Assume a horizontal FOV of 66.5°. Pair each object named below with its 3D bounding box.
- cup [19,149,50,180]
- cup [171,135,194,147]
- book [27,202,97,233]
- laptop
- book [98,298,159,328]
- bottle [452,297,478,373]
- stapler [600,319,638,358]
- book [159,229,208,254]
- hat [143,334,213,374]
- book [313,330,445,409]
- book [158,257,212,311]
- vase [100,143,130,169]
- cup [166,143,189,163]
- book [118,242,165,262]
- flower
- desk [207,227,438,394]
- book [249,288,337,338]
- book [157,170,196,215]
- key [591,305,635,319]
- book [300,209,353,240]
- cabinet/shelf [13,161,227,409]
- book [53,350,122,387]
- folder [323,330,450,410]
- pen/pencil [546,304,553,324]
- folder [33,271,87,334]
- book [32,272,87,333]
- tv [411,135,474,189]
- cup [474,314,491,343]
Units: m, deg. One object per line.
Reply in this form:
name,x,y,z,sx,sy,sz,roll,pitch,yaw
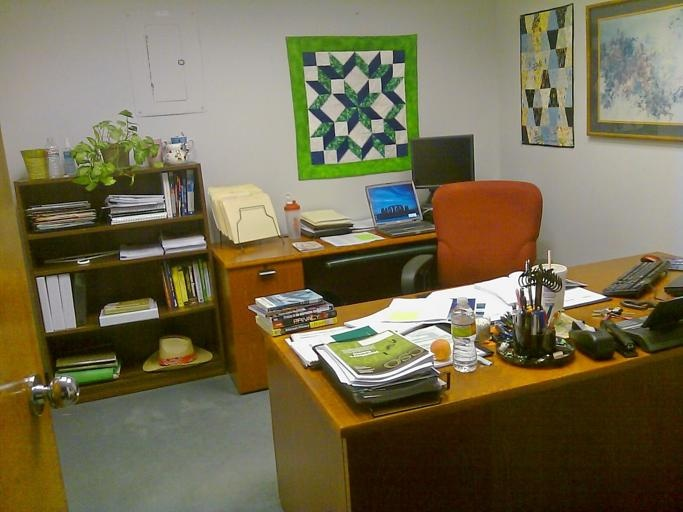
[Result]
cup,-1.840,-0.576,3.219,0.182,0.210,0.183,1,12,0
cup,-1.048,-0.743,3.429,0.128,0.067,0.095,-2,11,-26
book,-1.750,-0.249,3.250,0.396,0.165,0.112,-11,14,-16
laptop,0.412,-0.336,3.704,0.389,0.312,0.428,-12,20,-20
book,-1.410,0.361,3.477,0.363,0.095,0.310,-12,15,-18
bottle,0.414,0.261,1.771,0.086,0.226,0.133,-3,14,13
stapler,0.958,0.280,1.840,0.052,0.063,0.184,-10,26,-3
book,-1.054,-0.083,3.504,0.284,0.085,0.221,-13,15,-21
hat,-1.140,0.677,3.594,0.301,0.117,0.281,-5,16,-9
book,0.103,0.357,1.693,0.231,0.078,0.246,-7,17,-24
book,-1.044,0.182,3.522,0.287,0.425,0.409,-5,9,-14
vase,-1.417,-0.639,3.287,0.148,0.117,0.145,8,20,28
cup,-1.065,-0.670,3.383,0.139,0.135,0.106,1,10,-19
book,-1.319,-0.037,3.456,0.276,0.065,0.280,-12,15,-19
flower,-1.390,-0.724,3.258,0.385,0.222,0.343,0,-1,-8
desk,-0.157,0.248,2.689,0.914,0.593,0.300,-11,20,-31
book,-0.229,0.251,2.297,0.293,0.112,0.276,-7,12,-28
book,-1.070,-0.415,3.424,0.251,0.397,0.273,-5,16,-17
key,1.069,0.227,2.061,0.082,0.030,0.069,-6,3,12
book,-0.102,-0.236,3.684,0.230,0.085,0.239,-7,19,-29
cabinet/shelf,-1.360,0.144,3.205,1.258,1.685,0.457,-9,15,-25
book,-1.676,0.745,3.455,0.383,0.168,0.249,-14,15,-25
folder,0.130,0.366,1.743,0.384,0.109,0.387,-10,15,-13
pen/pencil,0.710,0.205,1.784,0.020,0.017,0.092,16,51,1
folder,-1.750,0.259,3.351,0.316,0.459,0.322,-8,12,-26
book,-1.753,0.269,3.335,0.318,0.464,0.318,-9,12,-27
tv,0.758,-0.703,3.859,0.471,0.396,0.065,-2,12,12
cup,0.521,0.275,1.976,0.074,0.093,0.077,-1,8,0
